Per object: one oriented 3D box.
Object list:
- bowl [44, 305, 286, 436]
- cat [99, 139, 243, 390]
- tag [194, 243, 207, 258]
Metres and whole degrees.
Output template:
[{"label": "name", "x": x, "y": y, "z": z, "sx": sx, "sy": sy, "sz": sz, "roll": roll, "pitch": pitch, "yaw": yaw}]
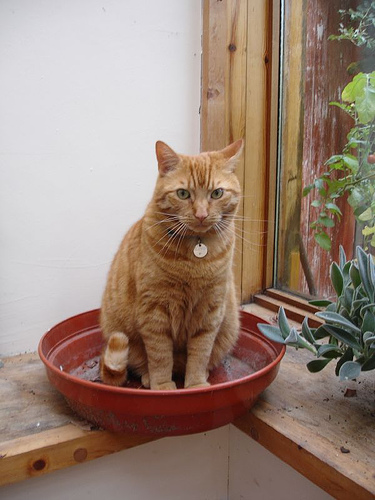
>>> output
[{"label": "bowl", "x": -0.057, "y": 0.329, "z": 1.033, "sx": 0.370, "sy": 0.089, "sz": 0.375, "roll": 2, "pitch": -25, "yaw": 1}, {"label": "cat", "x": -0.040, "y": 0.053, "z": 1.195, "sx": 0.386, "sy": 0.590, "sz": 0.423, "roll": 1, "pitch": -3, "yaw": -22}, {"label": "tag", "x": 0.030, "y": 0.002, "z": 1.044, "sx": 0.027, "sy": 0.026, "sz": 0.006, "roll": 7, "pitch": -12, "yaw": -8}]
